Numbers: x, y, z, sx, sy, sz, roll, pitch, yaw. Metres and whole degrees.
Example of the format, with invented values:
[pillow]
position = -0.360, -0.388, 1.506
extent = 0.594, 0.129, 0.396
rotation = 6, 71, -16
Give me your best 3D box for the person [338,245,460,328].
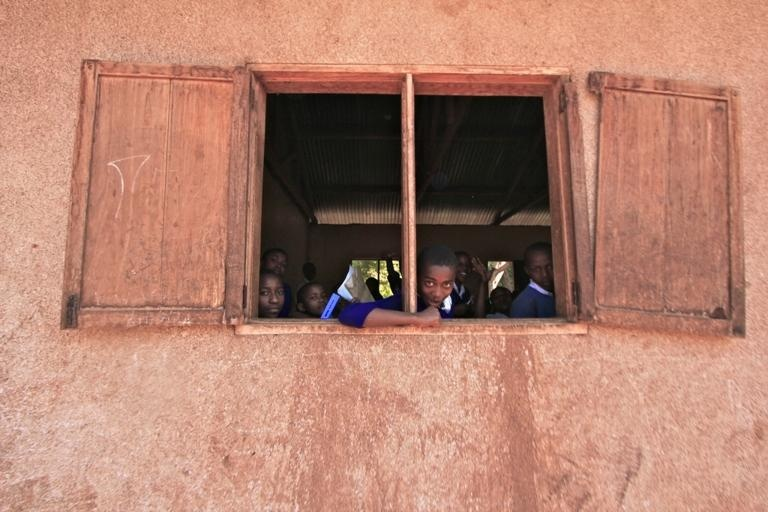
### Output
[person]
position = 0.166, 0.183, 4.392
extent = 0.835, 0.471, 0.474
rotation = -5, 3, -42
